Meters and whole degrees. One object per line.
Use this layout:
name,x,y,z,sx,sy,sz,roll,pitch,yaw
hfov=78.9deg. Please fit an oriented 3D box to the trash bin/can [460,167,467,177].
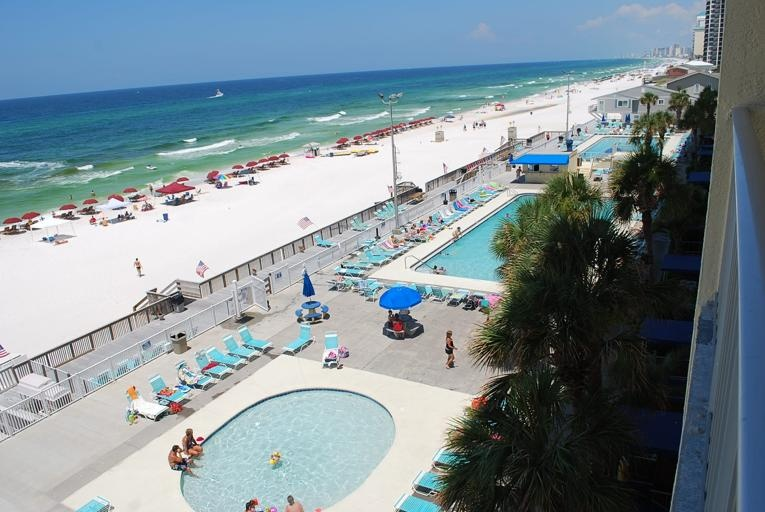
trash bin/can,7.903,-8.176,45.331,0.799,0.710,1.338,4,16,9

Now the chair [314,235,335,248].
chair,-3.611,-0.857,29.073,1.145,0.382,0.773,7,30,13

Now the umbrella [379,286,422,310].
umbrella,0.640,1.650,18.582,1.207,0.364,1.196,17,33,34

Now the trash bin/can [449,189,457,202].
trash bin/can,5.766,-4.986,38.064,0.653,0.940,1.030,-2,-8,12

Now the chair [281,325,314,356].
chair,-3.397,3.354,19.066,0.608,0.986,1.754,11,22,28

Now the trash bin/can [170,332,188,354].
trash bin/can,-8.376,3.572,19.065,0.669,0.764,0.728,8,18,33

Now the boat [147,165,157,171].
boat,-37.686,-14.396,76.154,1.829,0.791,2.436,-9,19,-39

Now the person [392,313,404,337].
person,0.645,2.850,18.910,0.361,1.041,0.464,-3,46,2

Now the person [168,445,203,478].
person,-5.701,5.849,13.374,0.811,0.766,0.359,0,2,-2

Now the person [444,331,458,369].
person,2.519,3.502,17.145,0.570,1.504,0.520,-14,43,-3

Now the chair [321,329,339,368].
chair,-1.944,3.574,17.718,0.740,0.817,1.281,0,33,0
